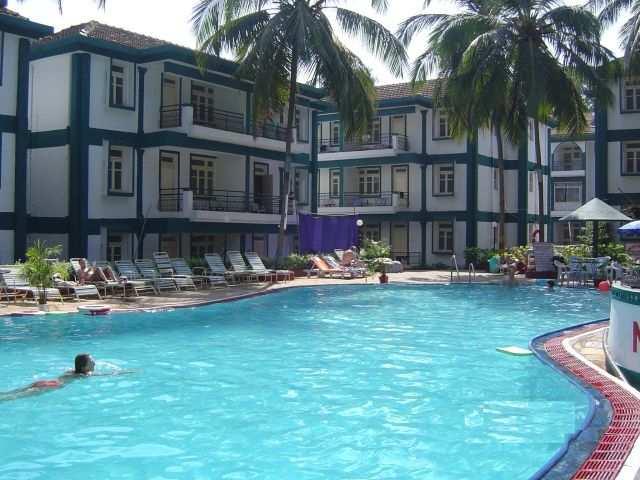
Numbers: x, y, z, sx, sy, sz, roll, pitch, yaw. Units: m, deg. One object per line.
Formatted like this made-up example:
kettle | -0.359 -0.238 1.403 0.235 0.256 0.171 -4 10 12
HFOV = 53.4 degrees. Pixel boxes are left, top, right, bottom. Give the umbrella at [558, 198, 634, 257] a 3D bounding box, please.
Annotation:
umbrella | 11.972 -0.380 27.652 2.902 2.937 2.905 1 2 23

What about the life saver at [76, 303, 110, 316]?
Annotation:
life saver | -6.591 2.016 18.725 0.975 0.217 0.802 8 9 40

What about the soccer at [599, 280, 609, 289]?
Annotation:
soccer | 10.958 1.731 24.677 0.312 0.371 0.339 2 -1 -6

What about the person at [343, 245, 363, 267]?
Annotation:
person | 1.547 0.785 30.687 0.697 1.074 0.767 -2 5 -23

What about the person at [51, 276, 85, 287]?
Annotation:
person | -7.967 1.256 20.236 0.702 0.370 0.870 2 7 8
